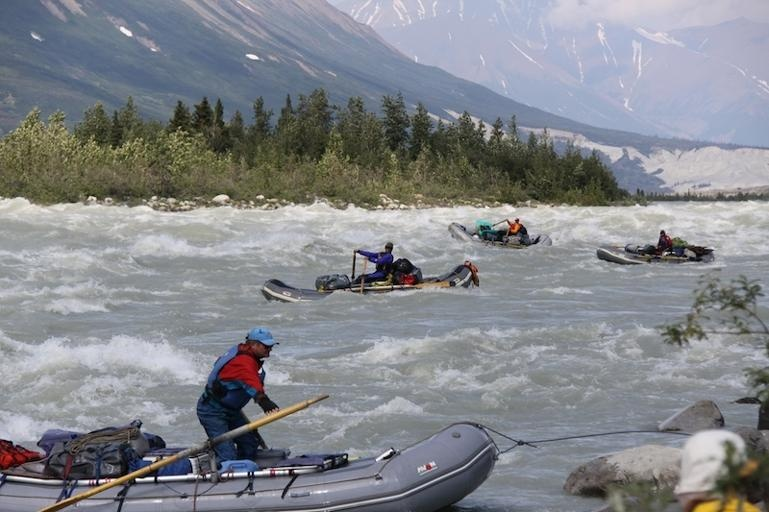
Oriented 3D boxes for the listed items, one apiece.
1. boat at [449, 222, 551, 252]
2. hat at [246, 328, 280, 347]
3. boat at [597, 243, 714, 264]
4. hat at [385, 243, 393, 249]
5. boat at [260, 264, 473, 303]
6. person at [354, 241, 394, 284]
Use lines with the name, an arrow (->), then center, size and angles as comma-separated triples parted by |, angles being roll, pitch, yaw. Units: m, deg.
boat -> 5.126, -0.938, 53.067 | 4.575, 1.169, 1.931 | -2, 0, 42
hat -> -3.199, 2.129, 30.561 | 0.848, 0.386, 0.536 | 3, 6, -2
boat -> 11.479, -0.033, 49.316 | 3.166, 0.574, 1.742 | 1, -1, -4
hat -> 0.215, -0.401, 43.186 | 0.275, 0.213, 0.288 | 0, 6, 42
boat -> -0.239, 1.148, 43.146 | 8.760, 1.413, 2.480 | -2, -2, -5
person -> -0.392, 0.295, 45.609 | 1.312, 1.666, 0.787 | 23, -35, -10
